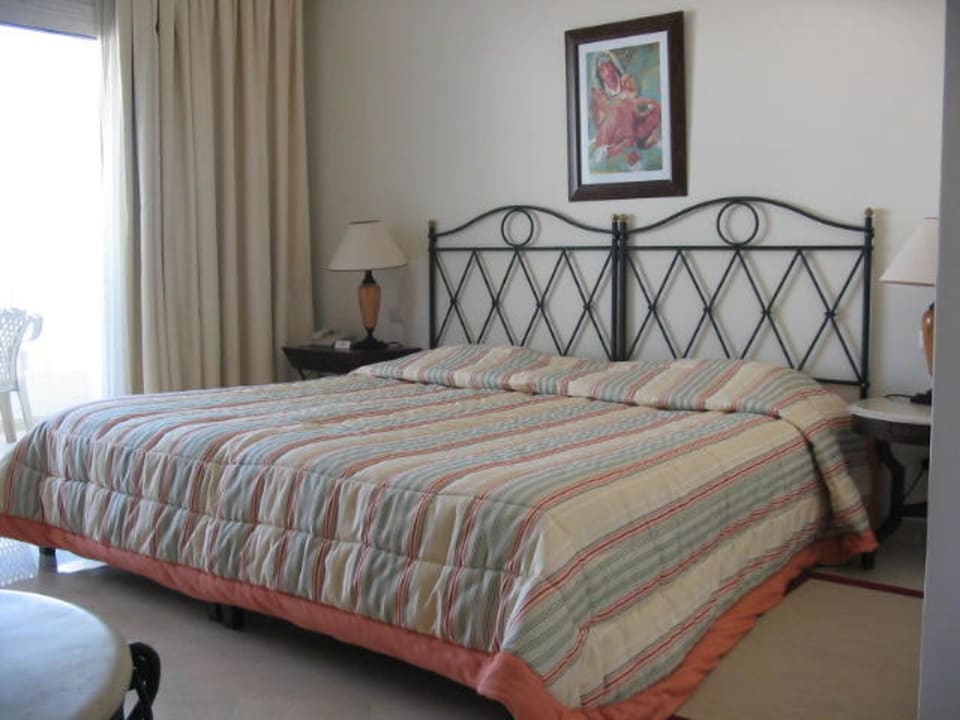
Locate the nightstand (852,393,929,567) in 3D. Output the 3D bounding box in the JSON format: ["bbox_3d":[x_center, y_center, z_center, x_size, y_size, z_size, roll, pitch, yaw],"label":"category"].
[{"bbox_3d":[1.671,0.476,3.000,0.282,0.640,0.560,5,10,31],"label":"nightstand"}]

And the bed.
[{"bbox_3d":[0.005,0.271,2.714,1.697,1.047,1.732,6,10,37],"label":"bed"}]

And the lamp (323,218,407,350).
[{"bbox_3d":[-0.668,-0.445,4.424,0.495,0.742,0.466,1,9,17],"label":"lamp"}]

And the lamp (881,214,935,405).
[{"bbox_3d":[1.679,-0.197,2.878,0.202,0.738,0.523,5,10,31],"label":"lamp"}]
